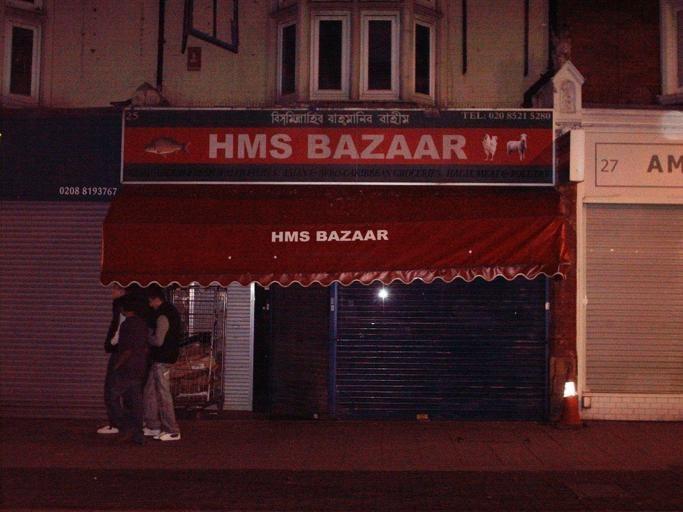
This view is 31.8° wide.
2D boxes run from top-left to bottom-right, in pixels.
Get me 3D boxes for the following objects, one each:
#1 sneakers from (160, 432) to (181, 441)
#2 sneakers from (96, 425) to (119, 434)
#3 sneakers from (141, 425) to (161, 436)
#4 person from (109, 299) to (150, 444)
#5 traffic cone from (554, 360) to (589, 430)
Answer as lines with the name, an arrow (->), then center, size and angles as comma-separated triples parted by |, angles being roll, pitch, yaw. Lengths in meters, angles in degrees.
sneakers -> -3.137, 3.196, 21.325 | 0.388, 0.146, 0.137 | 3, -1, -3
sneakers -> -4.339, 3.141, 21.734 | 0.369, 0.123, 0.160 | 6, -7, -2
sneakers -> -3.506, 3.122, 21.455 | 0.339, 0.126, 0.136 | 6, -3, 13
person -> -3.869, 1.980, 21.417 | 0.701, 2.520, 0.920 | 1, 2, -11
traffic cone -> 4.202, 2.488, 22.206 | 0.556, 1.249, 0.418 | 1, 2, 3
